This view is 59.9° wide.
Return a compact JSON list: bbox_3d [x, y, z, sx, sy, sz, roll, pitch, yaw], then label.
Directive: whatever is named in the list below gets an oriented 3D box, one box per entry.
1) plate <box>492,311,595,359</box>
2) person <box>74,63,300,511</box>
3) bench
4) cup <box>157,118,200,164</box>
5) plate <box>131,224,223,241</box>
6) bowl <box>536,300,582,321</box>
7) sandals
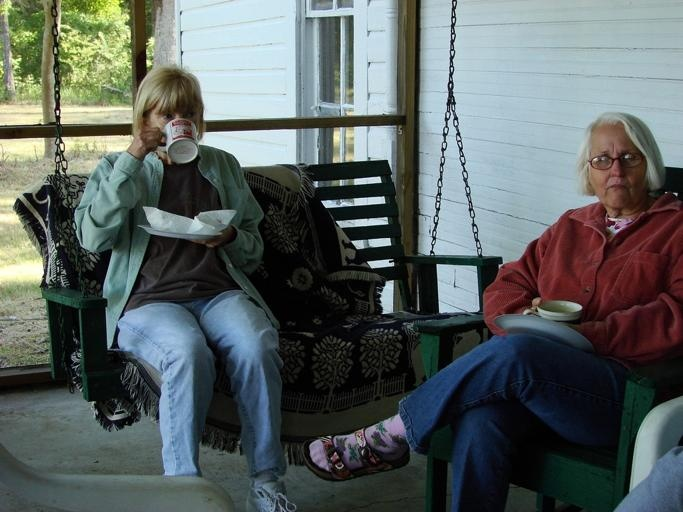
[{"bbox_3d":[0.558,0.235,1.711,0.273,0.040,0.280,3,16,-22],"label":"plate"},{"bbox_3d":[-0.545,0.109,2.237,0.696,1.691,0.959,-4,9,-36],"label":"person"},{"bbox_3d":[-0.314,0.156,2.589,1.693,0.940,1.006,-2,15,-36],"label":"bench"},{"bbox_3d":[-0.621,-0.448,2.291,0.123,0.170,0.125,2,8,0],"label":"cup"},{"bbox_3d":[-0.606,-0.081,2.241,0.304,0.073,0.227,-1,9,-16],"label":"plate"},{"bbox_3d":[0.685,0.173,1.862,0.083,0.050,0.085,-1,6,0],"label":"bowl"},{"bbox_3d":[0.033,0.697,2.122,0.381,0.185,0.153,-10,-9,17],"label":"sandals"}]
